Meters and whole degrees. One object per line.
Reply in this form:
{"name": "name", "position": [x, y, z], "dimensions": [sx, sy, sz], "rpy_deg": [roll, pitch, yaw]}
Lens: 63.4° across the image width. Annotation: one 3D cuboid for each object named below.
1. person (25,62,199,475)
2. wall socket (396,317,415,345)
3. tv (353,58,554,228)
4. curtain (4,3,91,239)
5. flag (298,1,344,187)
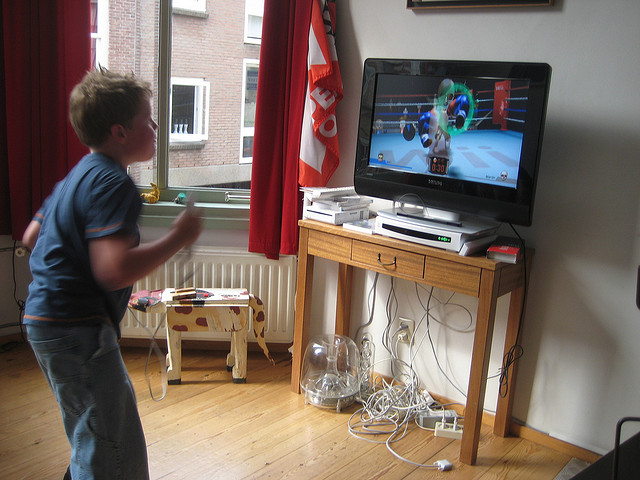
{"name": "person", "position": [-0.677, 0.113, 1.644], "dimensions": [0.476, 1.255, 0.363], "rpy_deg": [-13, 21, -39]}
{"name": "wall socket", "position": [0.499, 0.527, 3.006], "dimensions": [0.019, 0.212, 0.138], "rpy_deg": [-1, 6, -44]}
{"name": "tv", "position": [0.681, -0.476, 2.502], "dimensions": [0.692, 0.598, 0.095], "rpy_deg": [15, 17, 32]}
{"name": "curtain", "position": [-1.625, -0.693, 3.096], "dimensions": [0.571, 1.345, 0.222], "rpy_deg": [-7, 17, -23]}
{"name": "flag", "position": [-0.002, -0.830, 2.989], "dimensions": [0.249, 1.026, 0.170], "rpy_deg": [0, 16, -1]}
